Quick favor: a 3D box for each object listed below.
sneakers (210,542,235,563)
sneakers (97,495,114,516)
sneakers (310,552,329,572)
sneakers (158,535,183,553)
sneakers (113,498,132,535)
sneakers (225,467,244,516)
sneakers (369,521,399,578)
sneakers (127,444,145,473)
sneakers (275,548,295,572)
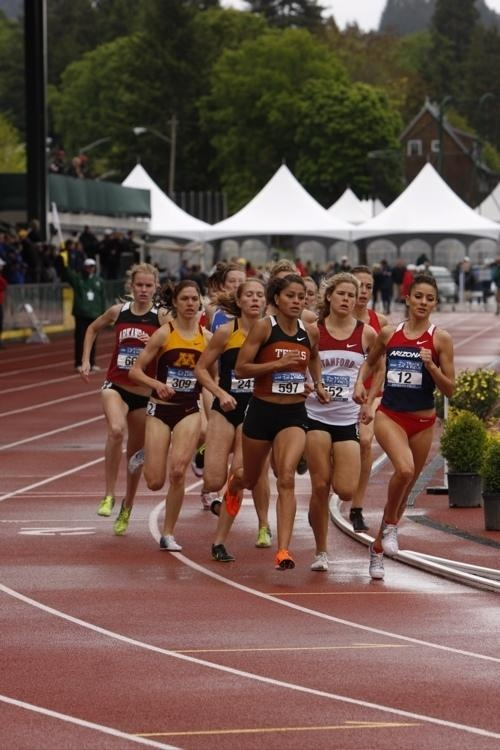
[{"bbox_3d":[-0.191,1.283,6.399,0.159,0.138,0.168,0,-1,-1],"label":"sneakers"},{"bbox_3d":[-1.253,1.158,7.789,0.094,0.122,0.280,22,-17,0],"label":"sneakers"},{"bbox_3d":[0.486,1.300,6.139,0.117,0.150,0.333,1,-8,4],"label":"sneakers"},{"bbox_3d":[-0.605,1.297,6.809,0.178,0.122,0.104,0,-1,23],"label":"sneakers"},{"bbox_3d":[-1.072,1.227,7.490,0.109,0.355,0.140,14,-10,-15],"label":"sneakers"},{"bbox_3d":[-0.104,0.804,6.037,0.117,0.349,0.157,1,-3,-1],"label":"sneakers"},{"bbox_3d":[0.888,1.182,5.930,0.142,0.423,0.168,5,-27,-7],"label":"sneakers"},{"bbox_3d":[-0.932,0.688,7.326,0.093,0.108,0.280,1,-45,-27],"label":"sneakers"},{"bbox_3d":[0.226,1.186,5.627,0.081,0.105,0.237,-1,-19,-3],"label":"sneakers"}]
